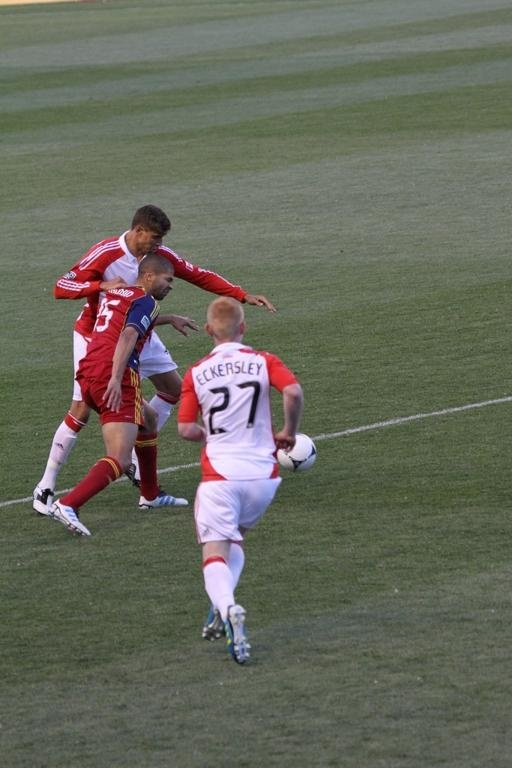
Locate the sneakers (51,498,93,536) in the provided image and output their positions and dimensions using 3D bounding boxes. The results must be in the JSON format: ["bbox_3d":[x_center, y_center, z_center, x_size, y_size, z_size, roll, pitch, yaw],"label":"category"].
[{"bbox_3d":[-0.809,0.591,6.016,0.161,0.228,0.127,-7,26,-10],"label":"sneakers"}]

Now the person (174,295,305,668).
[{"bbox_3d":[-0.085,0.313,5.208,0.462,0.994,0.969,2,26,9],"label":"person"}]

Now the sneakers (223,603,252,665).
[{"bbox_3d":[-0.060,0.897,4.959,0.081,0.238,0.108,-8,25,1],"label":"sneakers"}]

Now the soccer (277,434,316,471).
[{"bbox_3d":[0.190,0.319,6.159,0.171,0.170,0.171,-2,-11,5],"label":"soccer"}]

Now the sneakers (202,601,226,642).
[{"bbox_3d":[-0.153,0.884,5.113,0.057,0.168,0.077,9,35,4],"label":"sneakers"}]

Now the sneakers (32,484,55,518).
[{"bbox_3d":[-0.987,0.542,6.448,0.080,0.099,0.233,10,10,-10],"label":"sneakers"}]

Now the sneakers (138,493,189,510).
[{"bbox_3d":[-0.431,0.538,6.556,0.249,0.097,0.084,-2,5,-9],"label":"sneakers"}]
